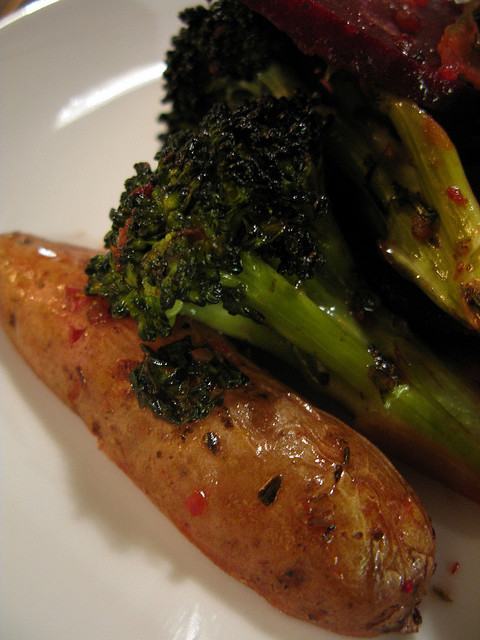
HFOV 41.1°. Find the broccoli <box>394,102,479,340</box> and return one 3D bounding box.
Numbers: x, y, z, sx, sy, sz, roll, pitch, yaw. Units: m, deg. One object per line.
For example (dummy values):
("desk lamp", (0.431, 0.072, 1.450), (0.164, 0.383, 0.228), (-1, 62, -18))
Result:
("broccoli", (0.398, -0.219, 1.298), (0.124, 0.448, 0.196), (-28, 23, -36))

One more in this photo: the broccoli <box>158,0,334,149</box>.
("broccoli", (-0.042, -0.567, 1.553), (0.390, 0.216, 0.376), (-32, 2, -13))
